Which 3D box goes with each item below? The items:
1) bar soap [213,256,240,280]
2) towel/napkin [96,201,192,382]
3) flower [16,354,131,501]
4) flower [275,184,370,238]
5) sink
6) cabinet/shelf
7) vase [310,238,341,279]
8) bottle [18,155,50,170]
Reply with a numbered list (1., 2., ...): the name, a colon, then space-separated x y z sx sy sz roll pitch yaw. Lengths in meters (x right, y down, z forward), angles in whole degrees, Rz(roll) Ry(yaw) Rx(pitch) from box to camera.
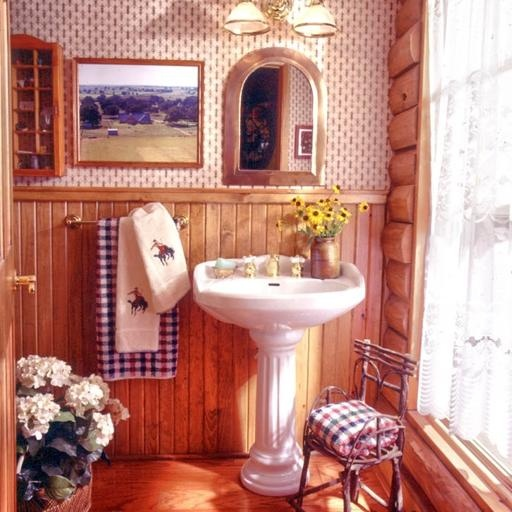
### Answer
1. bar soap: -0.139 0.050 2.269 0.093 0.088 0.070 -2 -28 4
2. towel/napkin: -0.513 0.164 2.271 0.409 0.786 0.238 -4 10 -19
3. flower: -0.718 0.633 2.027 0.460 0.423 0.538 3 -36 -30
4. flower: 0.294 -0.201 2.340 0.371 0.148 0.246 -24 16 -36
5. sink: 0.091 0.165 2.112 0.701 0.256 0.603 -2 9 -7
6. cabinet/shelf: -0.966 -0.650 2.241 0.239 0.593 0.114 -4 10 -21
7. vase: 0.301 0.008 2.231 0.141 0.201 0.163 1 6 6
8. bottle: -0.997 -0.407 2.281 0.125 0.066 0.061 1 5 -13
